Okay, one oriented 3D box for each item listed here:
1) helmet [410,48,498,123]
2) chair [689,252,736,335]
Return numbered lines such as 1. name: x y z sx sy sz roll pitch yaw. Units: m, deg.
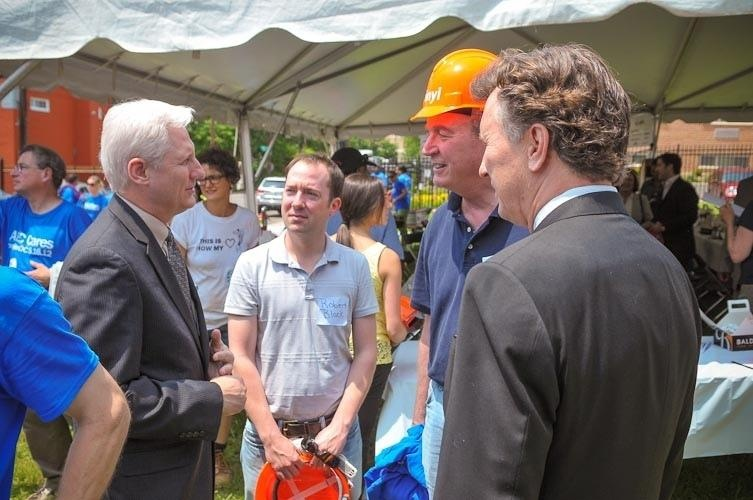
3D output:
1. helmet: 0.420 -0.867 3.302 0.473 0.310 0.347 -11 21 -12
2. chair: 3.625 0.445 6.799 0.536 0.468 0.802 13 -31 32
